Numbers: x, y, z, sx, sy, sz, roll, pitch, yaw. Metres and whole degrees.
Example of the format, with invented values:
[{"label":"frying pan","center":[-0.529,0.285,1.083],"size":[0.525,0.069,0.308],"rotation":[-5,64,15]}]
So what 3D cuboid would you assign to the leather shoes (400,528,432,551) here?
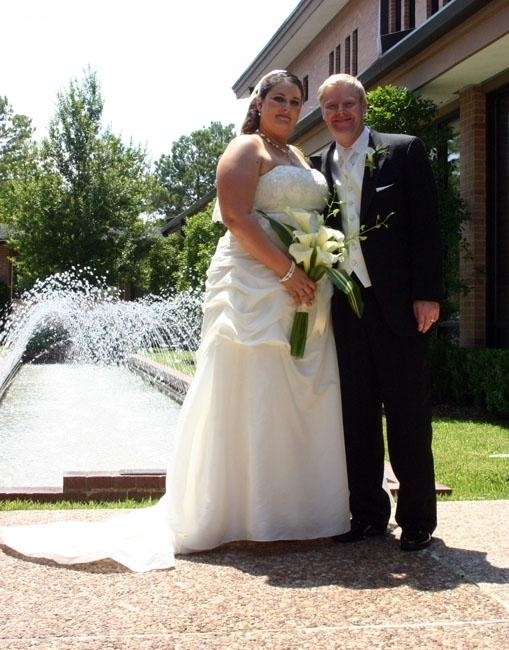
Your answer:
[{"label":"leather shoes","center":[0.667,0.879,2.566],"size":[0.145,0.063,0.122],"rotation":[1,-2,-2]}]

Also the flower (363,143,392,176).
[{"label":"flower","center":[0.526,-0.718,2.709],"size":[0.135,0.120,0.051],"rotation":[8,5,-4]}]

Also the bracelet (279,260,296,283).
[{"label":"bracelet","center":[0.149,-0.233,2.720],"size":[0.022,0.080,0.085],"rotation":[33,14,2]}]

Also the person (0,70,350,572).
[{"label":"person","center":[-0.163,-0.132,2.711],"size":[1.196,2.135,0.564],"rotation":[2,-2,-22]}]

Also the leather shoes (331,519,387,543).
[{"label":"leather shoes","center":[0.472,0.905,2.781],"size":[0.254,0.094,0.081],"rotation":[4,-8,-29]}]

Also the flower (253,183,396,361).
[{"label":"flower","center":[0.264,-0.209,2.783],"size":[0.533,0.781,0.620],"rotation":[19,-2,11]}]
